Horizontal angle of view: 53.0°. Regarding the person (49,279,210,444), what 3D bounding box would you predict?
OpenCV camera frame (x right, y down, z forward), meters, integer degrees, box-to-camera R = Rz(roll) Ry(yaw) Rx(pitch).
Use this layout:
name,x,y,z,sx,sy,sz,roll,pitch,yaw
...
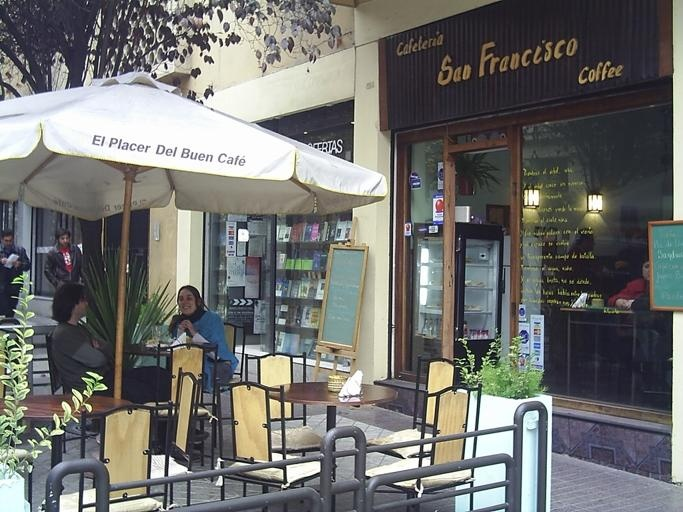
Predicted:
name,x,y,z,sx,sy,sz,roll,pitch,yaw
person,-2.079,1.027,6.808,1.063,1.541,1.066,0,2,14

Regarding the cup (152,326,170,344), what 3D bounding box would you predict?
name,x,y,z,sx,sy,sz,roll,pitch,yaw
cup,-1.974,0.879,7.527,0.184,0.195,0.170,-1,-15,0

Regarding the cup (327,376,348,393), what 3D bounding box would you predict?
name,x,y,z,sx,sy,sz,roll,pitch,yaw
cup,-0.031,1.139,6.105,0.139,0.110,0.141,0,2,0

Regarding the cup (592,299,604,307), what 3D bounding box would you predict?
name,x,y,z,sx,sy,sz,roll,pitch,yaw
cup,2.858,0.526,7.644,0.071,0.102,0.133,0,0,-27

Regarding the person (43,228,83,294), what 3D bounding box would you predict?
name,x,y,z,sx,sy,sz,roll,pitch,yaw
person,-5.452,0.429,13.579,0.785,1.840,0.491,-9,11,-43
